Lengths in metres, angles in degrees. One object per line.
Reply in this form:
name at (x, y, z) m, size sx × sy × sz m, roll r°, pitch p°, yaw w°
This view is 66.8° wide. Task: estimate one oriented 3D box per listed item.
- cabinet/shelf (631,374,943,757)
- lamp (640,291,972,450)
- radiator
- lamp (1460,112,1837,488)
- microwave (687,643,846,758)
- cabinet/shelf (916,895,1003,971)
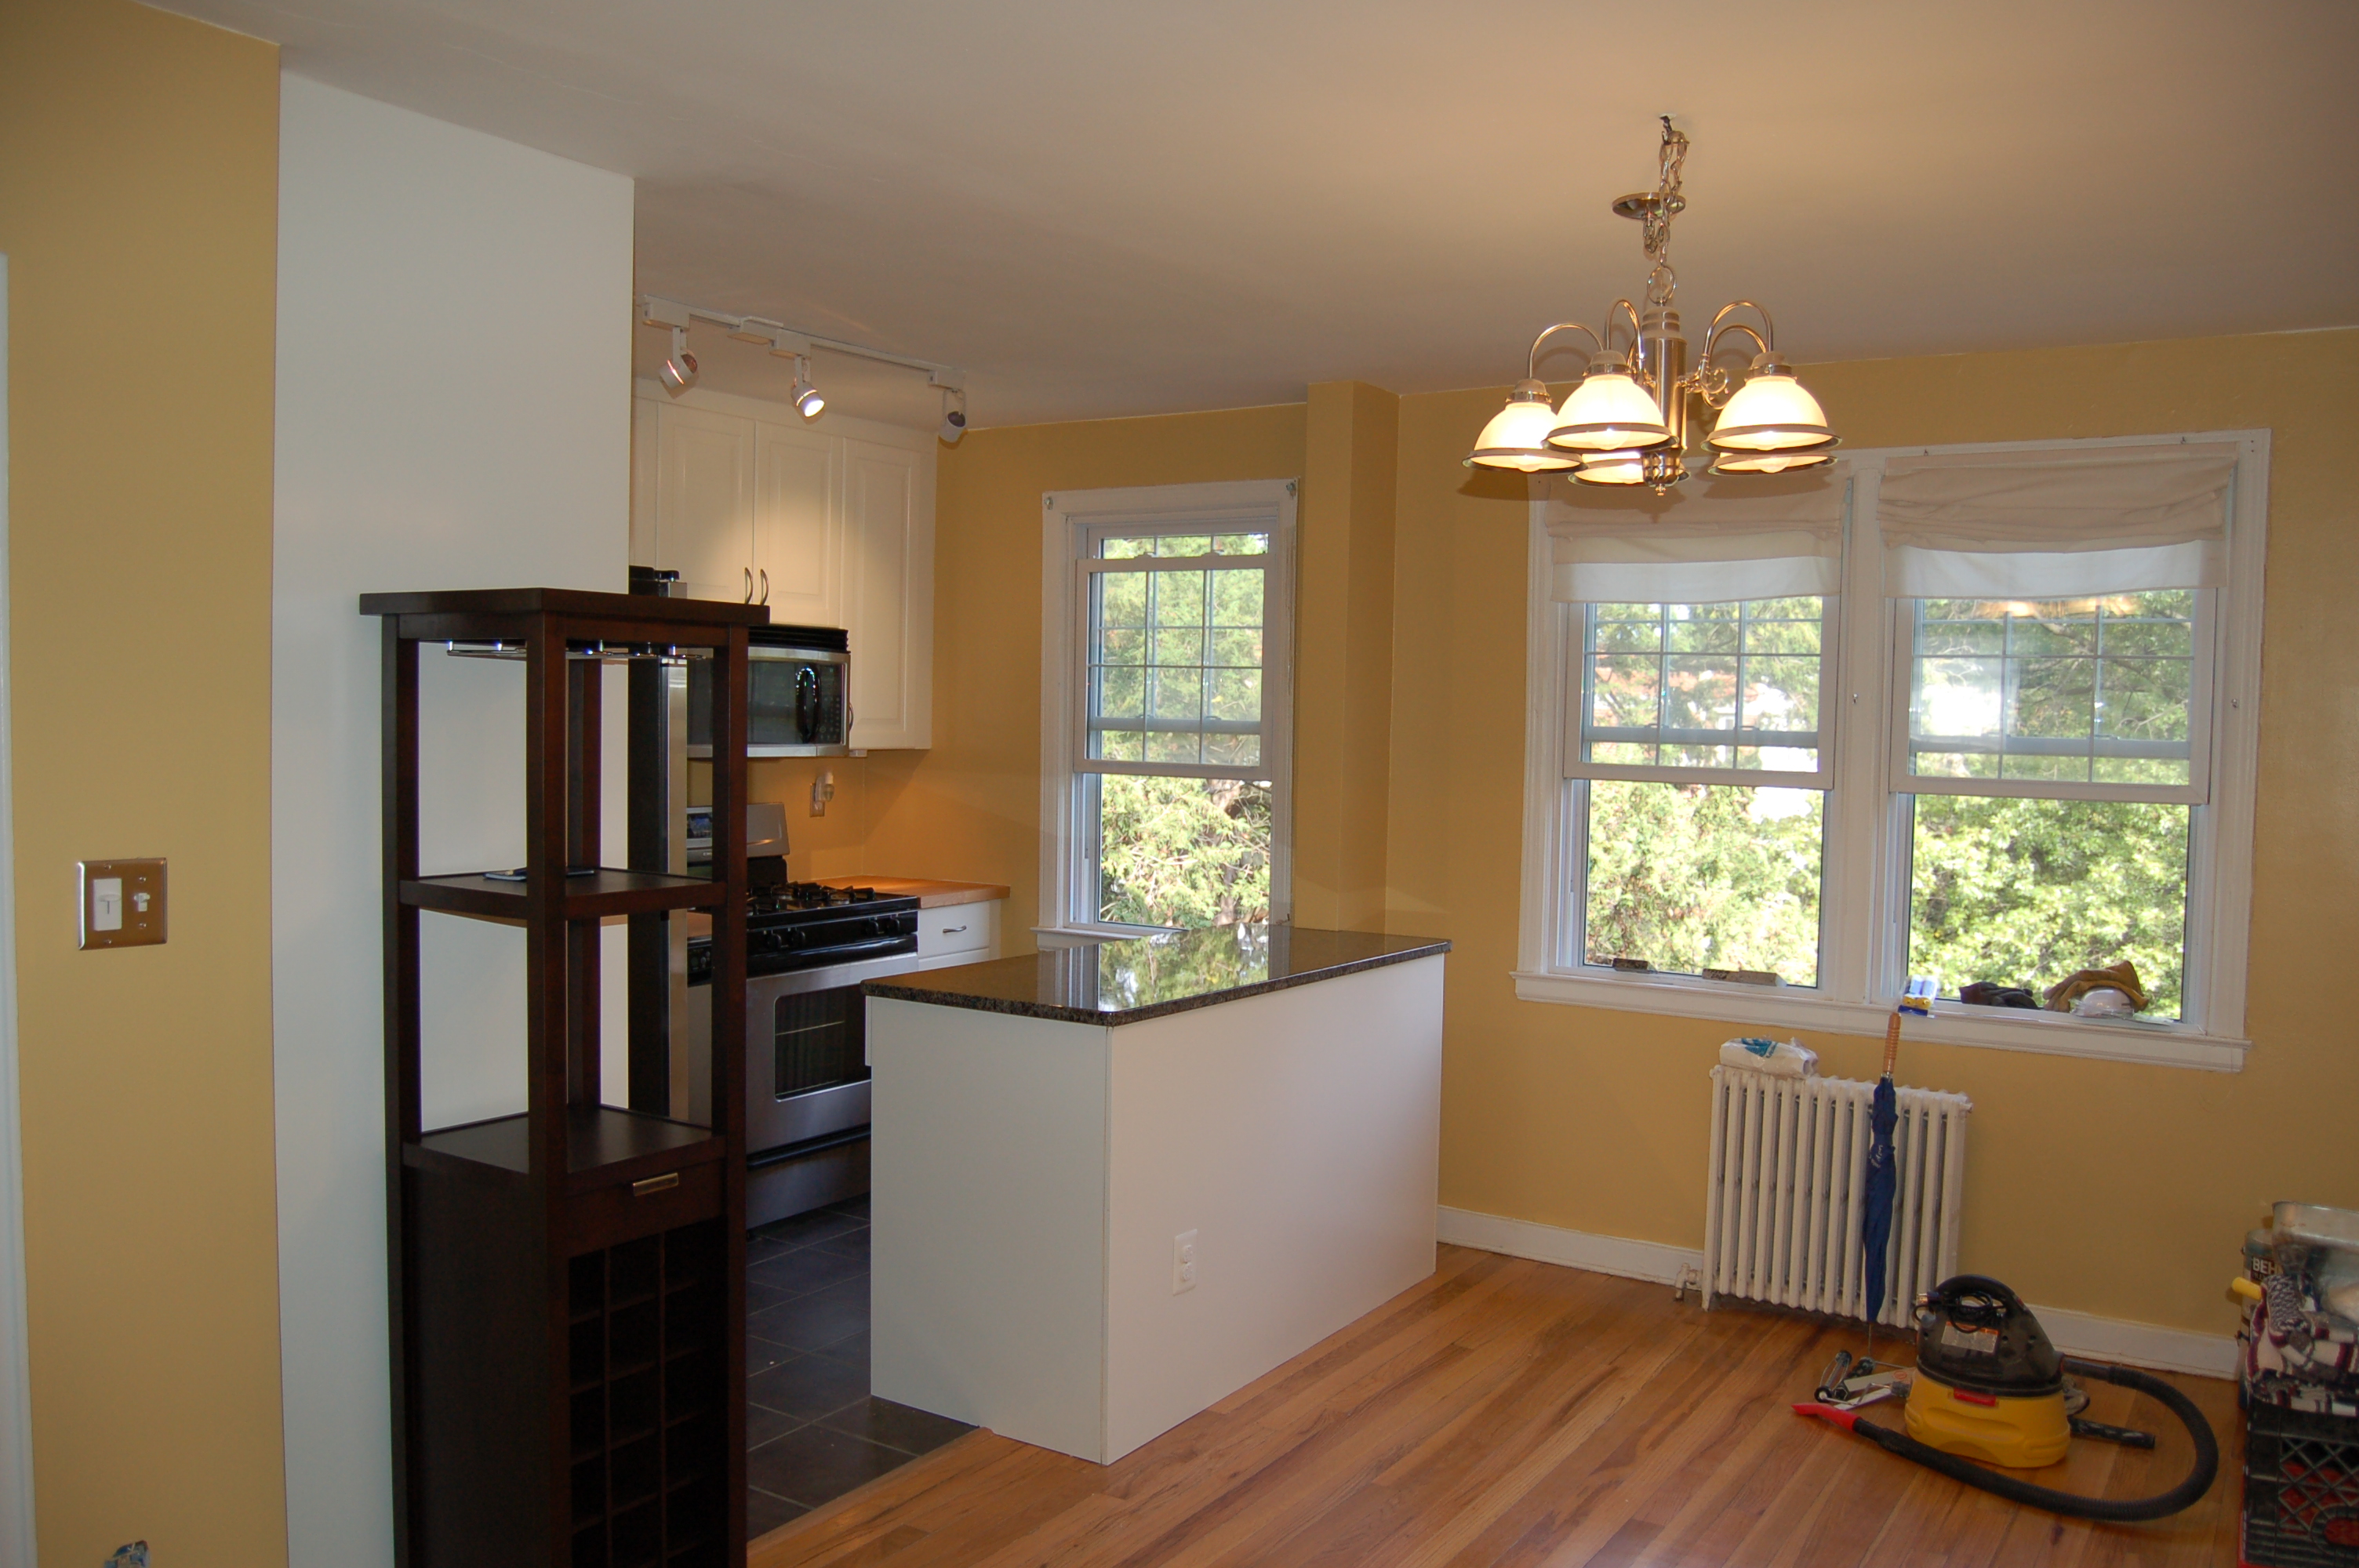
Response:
cabinet/shelf at (-1.458, -0.844, 6.501) m, size 0.578 × 1.297 × 1.459 m, roll -2°, pitch -3°, yaw 34°
lamp at (-1.263, -1.420, 6.180) m, size 1.479 × 0.425 × 0.986 m, roll -9°, pitch 17°, yaw -39°
radiator at (2.196, 1.360, 5.865) m, size 0.863 × 0.845 × 0.225 m, roll 4°, pitch 1°, yaw 28°
lamp at (1.125, -1.111, 4.086) m, size 0.746 × 0.821 × 0.832 m, roll 3°, pitch 5°, yaw 38°
microwave at (-1.650, -0.330, 6.932) m, size 0.672 × 0.408 × 0.409 m, roll -1°, pitch 5°, yaw -41°
cabinet/shelf at (-0.907, 0.595, 7.346) m, size 0.259 × 0.336 × 0.374 m, roll 0°, pitch 2°, yaw 31°
